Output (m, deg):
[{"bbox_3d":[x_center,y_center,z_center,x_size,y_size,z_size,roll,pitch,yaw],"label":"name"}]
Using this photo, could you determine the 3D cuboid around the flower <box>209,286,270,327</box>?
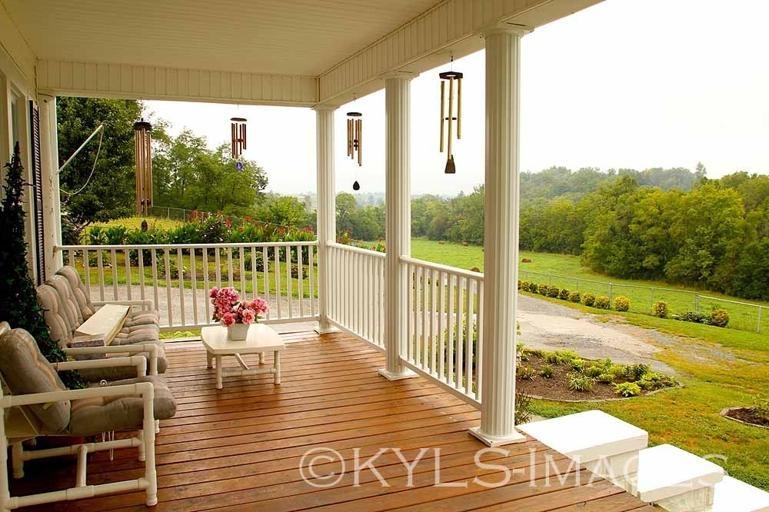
[{"bbox_3d":[-1.814,0.638,6.688,0.720,0.486,0.524,1,15,5],"label":"flower"}]

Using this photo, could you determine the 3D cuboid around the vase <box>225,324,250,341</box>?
[{"bbox_3d":[-1.777,0.892,6.594,0.243,0.230,0.275,-5,15,-19],"label":"vase"}]
